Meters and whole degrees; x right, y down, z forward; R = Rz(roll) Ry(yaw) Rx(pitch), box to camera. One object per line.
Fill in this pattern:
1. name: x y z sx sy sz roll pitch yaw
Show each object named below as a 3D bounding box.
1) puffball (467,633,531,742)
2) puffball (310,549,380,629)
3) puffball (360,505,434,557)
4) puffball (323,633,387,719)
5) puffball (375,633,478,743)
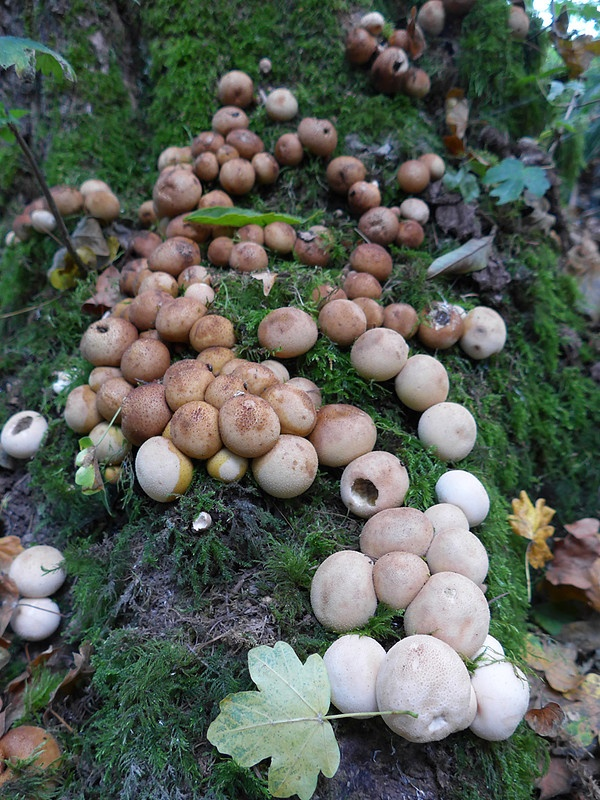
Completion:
1. puffball: 0.628 0.957 2.274 0.242 0.135 0.277 -6 84 -8
2. puffball: 0.147 0.654 2.326 0.209 0.167 0.258 -1 52 -6
3. puffball: 0.335 0.469 2.392 0.215 0.118 0.167 -11 87 20
4. puffball: 0.171 0.857 2.135 0.227 0.216 0.241 5 90 -20
5. puffball: 0.359 0.825 1.956 0.320 0.185 0.302 -1 79 6
